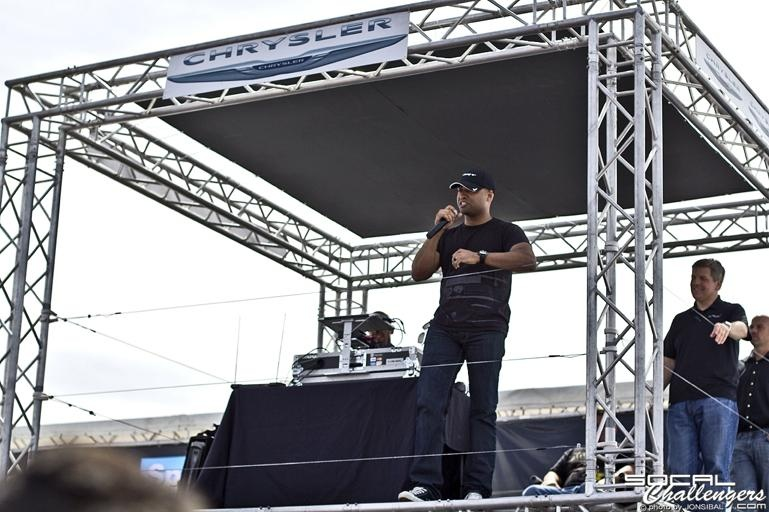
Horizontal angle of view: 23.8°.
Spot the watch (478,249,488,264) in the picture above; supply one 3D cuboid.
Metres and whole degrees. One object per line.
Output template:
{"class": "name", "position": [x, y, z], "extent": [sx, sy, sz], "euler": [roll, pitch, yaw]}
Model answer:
{"class": "watch", "position": [0.892, 0.000, 16.606], "extent": [0.086, 0.098, 0.112], "euler": [0, 11, 4]}

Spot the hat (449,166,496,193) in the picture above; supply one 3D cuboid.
{"class": "hat", "position": [0.827, -0.704, 16.845], "extent": [0.379, 0.163, 0.253], "euler": [11, -4, -18]}

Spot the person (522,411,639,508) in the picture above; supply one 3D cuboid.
{"class": "person", "position": [1.837, 2.061, 17.116], "extent": [1.015, 0.911, 1.400], "euler": [1, -22, 6]}

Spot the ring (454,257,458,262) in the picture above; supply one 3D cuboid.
{"class": "ring", "position": [0.645, 0.021, 16.508], "extent": [0.039, 0.031, 0.009], "euler": [7, 4, 29]}

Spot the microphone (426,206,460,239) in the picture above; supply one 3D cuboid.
{"class": "microphone", "position": [0.605, -0.302, 16.783], "extent": [0.117, 0.448, 0.127], "euler": [54, -13, -2]}

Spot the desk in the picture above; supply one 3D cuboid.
{"class": "desk", "position": [-0.628, 1.735, 16.964], "extent": [1.670, 0.712, 1.527], "euler": [-2, -17, 13]}

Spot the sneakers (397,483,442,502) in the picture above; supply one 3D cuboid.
{"class": "sneakers", "position": [0.330, 2.148, 16.513], "extent": [0.438, 0.156, 0.140], "euler": [7, -23, -6]}

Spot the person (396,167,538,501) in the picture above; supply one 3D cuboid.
{"class": "person", "position": [0.749, 0.727, 16.670], "extent": [1.061, 2.979, 1.066], "euler": [6, -24, -5]}

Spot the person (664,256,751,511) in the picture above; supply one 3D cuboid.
{"class": "person", "position": [2.948, 1.097, 16.849], "extent": [0.662, 2.134, 0.863], "euler": [13, -26, -18]}
